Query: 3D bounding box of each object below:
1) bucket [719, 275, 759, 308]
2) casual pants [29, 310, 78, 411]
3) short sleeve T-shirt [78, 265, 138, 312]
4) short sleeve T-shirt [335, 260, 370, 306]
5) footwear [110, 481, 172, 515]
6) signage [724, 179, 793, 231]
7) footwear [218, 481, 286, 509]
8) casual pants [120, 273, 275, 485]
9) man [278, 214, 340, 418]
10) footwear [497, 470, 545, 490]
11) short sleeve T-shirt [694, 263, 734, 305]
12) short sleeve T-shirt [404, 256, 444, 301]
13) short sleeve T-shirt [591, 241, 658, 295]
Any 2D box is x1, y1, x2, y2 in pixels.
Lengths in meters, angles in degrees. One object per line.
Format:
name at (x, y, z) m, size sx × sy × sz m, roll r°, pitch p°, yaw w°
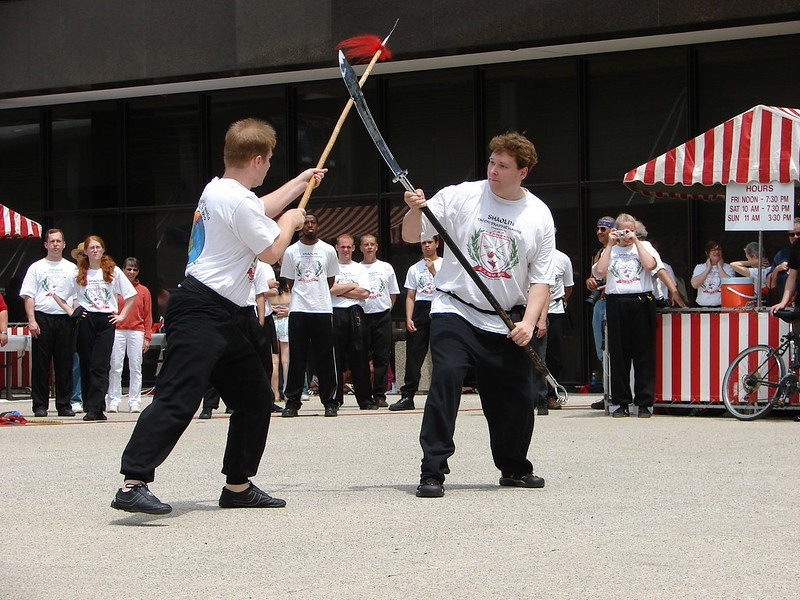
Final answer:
bucket at (4.030, -0.102, 17.027) m, size 0.443 × 0.372 × 0.387 m, roll 1°, pitch -4°, yaw 4°
casual pants at (-4.305, 0.830, 18.058) m, size 0.673 × 1.221 × 0.440 m, roll 2°, pitch -10°, yaw 14°
short sleeve T-shirt at (-3.627, -0.134, 17.816) m, size 0.744 × 0.452 × 0.281 m, roll -5°, pitch 1°, yaw -4°
short sleeve T-shirt at (-0.591, -0.188, 18.406) m, size 0.656 × 0.569 × 0.348 m, roll 2°, pitch -21°, yaw -2°
footwear at (-2.018, 1.553, 11.234) m, size 0.592 × 0.222 × 0.195 m, roll 4°, pitch -4°, yaw 2°
signage at (4.225, -1.094, 16.685) m, size 0.758 × 0.431 × 0.028 m, roll -1°, pitch -7°, yaw 14°
footwear at (-1.186, 1.595, 11.683) m, size 0.663 × 0.202 × 0.186 m, roll 1°, pitch -5°, yaw 0°
casual pants at (-1.813, 0.740, 13.181) m, size 1.454 × 2.004 × 1.342 m, roll -9°, pitch -25°, yaw 23°
man at (-1.017, 0.137, 17.452) m, size 0.847 × 2.316 × 0.584 m, roll 0°, pitch -2°, yaw 13°
footwear at (1.049, 1.544, 12.241) m, size 0.394 × 0.131 × 0.133 m, roll -3°, pitch -5°, yaw 20°
short sleeve T-shirt at (4.123, -0.201, 18.648) m, size 0.618 × 0.566 × 0.370 m, roll -1°, pitch -15°, yaw 23°
short sleeve T-shirt at (0.365, -0.236, 18.684) m, size 0.738 × 0.488 × 0.239 m, roll 0°, pitch 6°, yaw -24°
short sleeve T-shirt at (2.709, -0.383, 16.664) m, size 0.873 × 0.618 × 0.541 m, roll -4°, pitch 6°, yaw 34°
